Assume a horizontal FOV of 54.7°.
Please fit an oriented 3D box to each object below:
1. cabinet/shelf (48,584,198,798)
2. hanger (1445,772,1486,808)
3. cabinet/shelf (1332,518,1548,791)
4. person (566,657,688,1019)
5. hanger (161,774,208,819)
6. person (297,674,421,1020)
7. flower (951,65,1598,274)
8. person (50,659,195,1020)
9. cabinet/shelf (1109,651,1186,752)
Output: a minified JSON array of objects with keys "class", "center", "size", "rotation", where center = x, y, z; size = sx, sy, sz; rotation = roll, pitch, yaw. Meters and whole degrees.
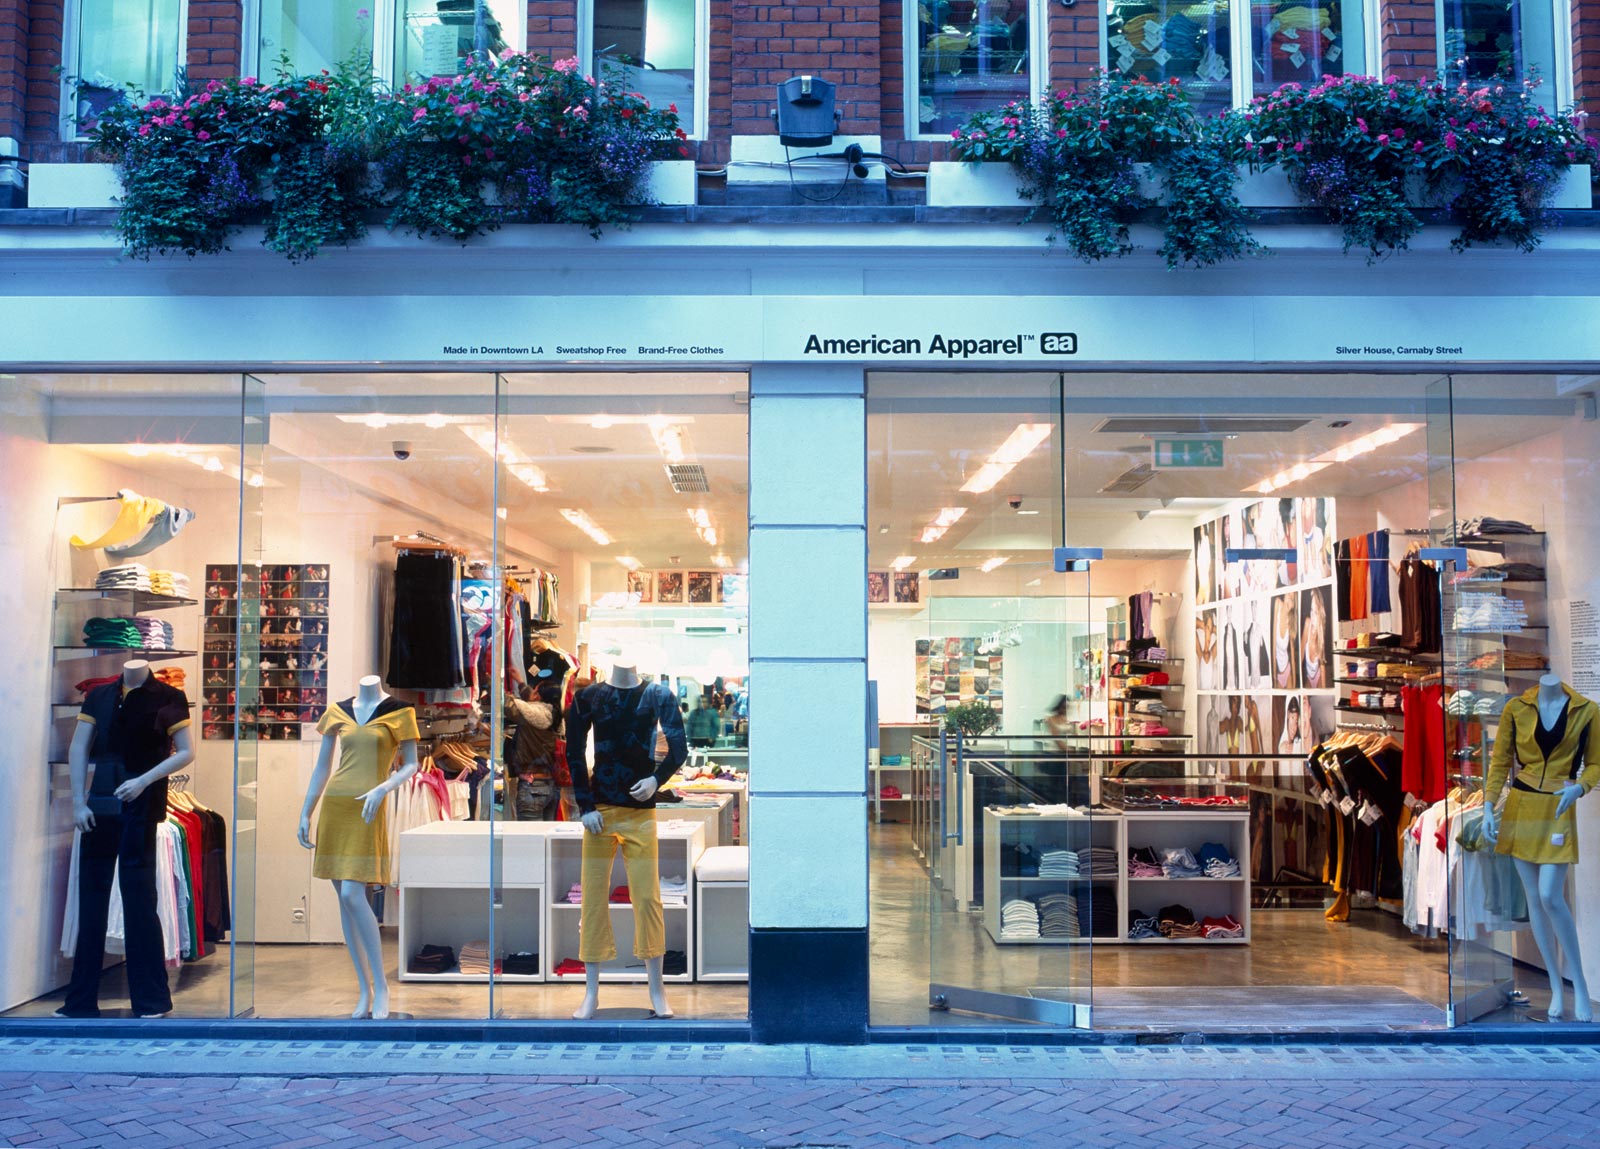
[{"class":"cabinet/shelf","center":[-4.294,0.789,9.617],"size":[0.824,1.400,0.467],"rotation":[2,-10,-19]},{"class":"hanger","center":[4.122,1.305,9.424],"size":[0.272,0.215,0.089],"rotation":[-1,4,-24]},{"class":"cabinet/shelf","center":[4.376,0.496,10.379],"size":[0.679,1.866,2.064],"rotation":[0,-2,-4]},{"class":"person","center":[-1.038,1.550,9.196],"size":[0.683,2.006,0.372],"rotation":[0,4,-8]},{"class":"hanger","center":[-3.774,1.345,9.398],"size":[0.288,0.092,0.280],"rotation":[1,1,-20]},{"class":"person","center":[-2.701,1.599,9.330],"size":[0.651,1.930,0.511],"rotation":[1,4,13]},{"class":"flower","center":[2.834,-2.323,8.959],"size":[3.421,1.091,0.426],"rotation":[0,4,-2]},{"class":"person","center":[-4.060,1.557,9.254],"size":[0.682,2.016,0.514],"rotation":[0,4,-11]},{"class":"cabinet/shelf","center":[2.962,1.018,13.268],"size":[0.303,0.747,0.841],"rotation":[9,-7,-12]}]
